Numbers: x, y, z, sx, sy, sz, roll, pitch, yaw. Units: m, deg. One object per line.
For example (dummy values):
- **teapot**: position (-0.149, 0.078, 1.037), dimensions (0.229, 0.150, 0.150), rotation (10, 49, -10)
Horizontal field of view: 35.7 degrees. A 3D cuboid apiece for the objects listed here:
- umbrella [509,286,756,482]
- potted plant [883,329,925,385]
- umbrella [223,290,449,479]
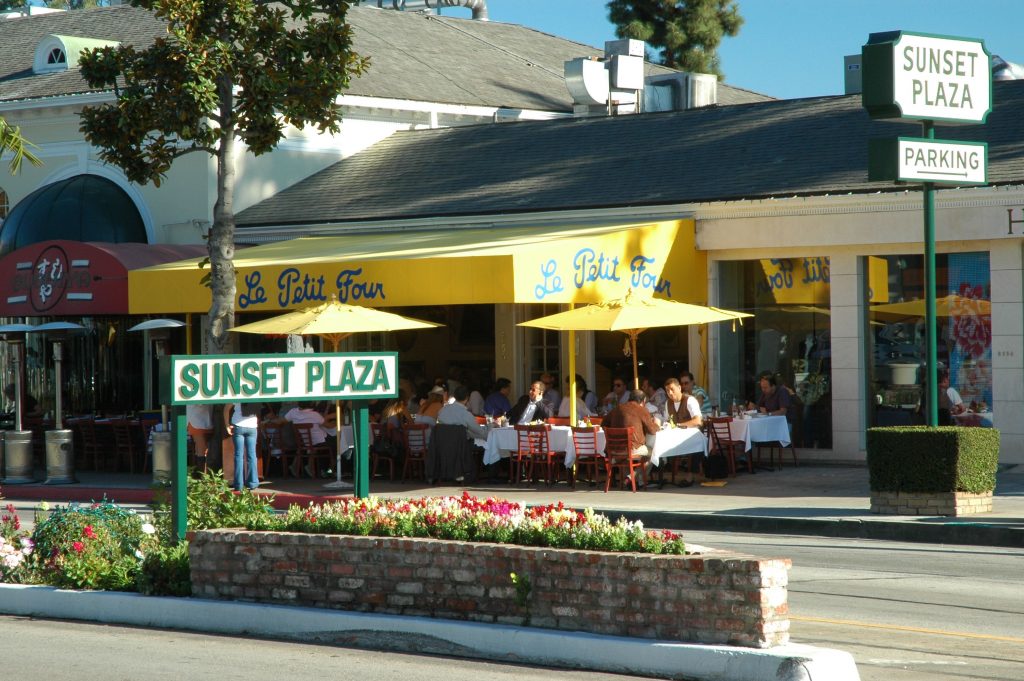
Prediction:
- **umbrella**: position (1.786, 0.753, 27.645), dimensions (2.988, 2.048, 2.759), rotation (-1, -3, -28)
- **potted plant**: position (7.339, 0.302, 29.764), dimensions (0.865, 1.236, 0.838), rotation (1, -4, 5)
- **umbrella**: position (-3.034, 0.813, 26.723), dimensions (3.243, 2.960, 2.909), rotation (-1, -1, -37)
